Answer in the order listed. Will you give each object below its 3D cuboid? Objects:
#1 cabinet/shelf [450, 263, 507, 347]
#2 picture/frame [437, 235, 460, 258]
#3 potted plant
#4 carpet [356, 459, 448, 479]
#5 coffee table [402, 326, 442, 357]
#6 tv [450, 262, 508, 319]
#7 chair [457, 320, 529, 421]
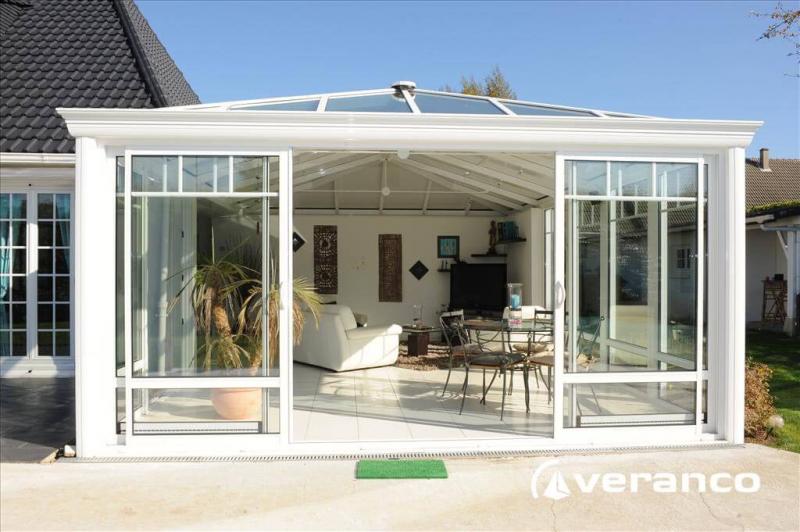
[{"bbox_3d":[1.609,0.788,13.516,1.820,1.504,0.586,1,-9,28],"label":"cabinet/shelf"},{"bbox_3d":[1.124,-0.467,15.478,0.578,0.501,0.041,1,2,3],"label":"picture/frame"},{"bbox_3d":[-1.919,0.625,8.251,1.906,1.684,1.415,2,11,-32],"label":"potted plant"},{"bbox_3d":[0.022,2.317,7.711,0.673,0.076,0.336,-1,5,-2],"label":"carpet"},{"bbox_3d":[0.408,1.443,13.148,0.609,0.503,0.570,-1,1,-26],"label":"coffee table"},{"bbox_3d":[1.735,0.559,14.630,1.274,1.017,0.410,1,-6,26],"label":"tv"},{"bbox_3d":[1.491,1.458,9.994,1.260,1.530,1.395,0,-1,-2],"label":"chair"}]
